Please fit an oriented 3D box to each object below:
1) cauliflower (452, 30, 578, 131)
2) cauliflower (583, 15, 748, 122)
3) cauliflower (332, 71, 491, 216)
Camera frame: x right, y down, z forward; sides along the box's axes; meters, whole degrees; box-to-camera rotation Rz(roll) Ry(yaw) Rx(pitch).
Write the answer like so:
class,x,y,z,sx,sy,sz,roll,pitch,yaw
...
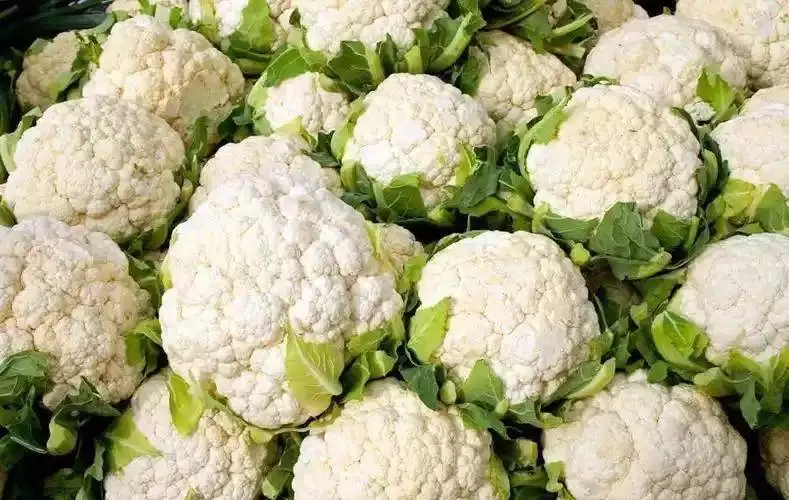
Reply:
class,x,y,z,sx,sy,sz,roll,pitch,yaw
cauliflower,0.692,-1.053,4.740,0.686,0.275,0.581,1,73,-19
cauliflower,1.709,-1.075,4.880,0.773,0.312,0.739,30,76,22
cauliflower,0.048,-0.717,4.569,0.853,0.731,0.522,-16,34,-4
